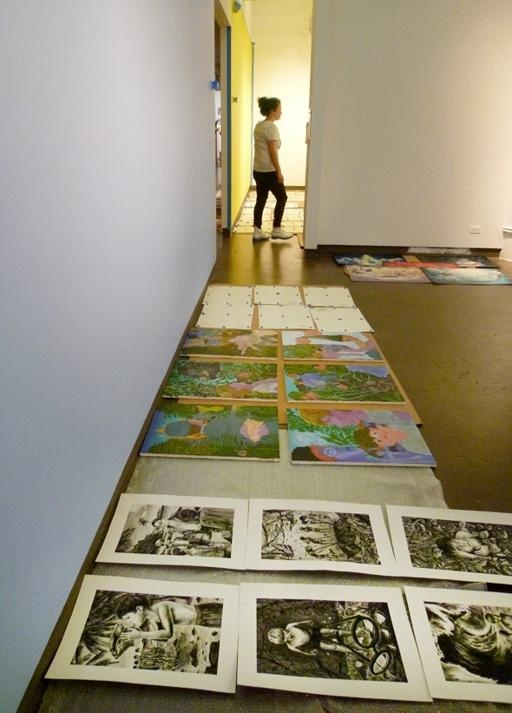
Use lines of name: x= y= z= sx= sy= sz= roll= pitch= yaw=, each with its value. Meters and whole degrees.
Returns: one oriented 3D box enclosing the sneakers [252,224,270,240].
sneakers: x=0.077 y=-1.624 z=6.539 sx=0.118 sy=0.223 sz=0.310 roll=14 pitch=29 yaw=37
